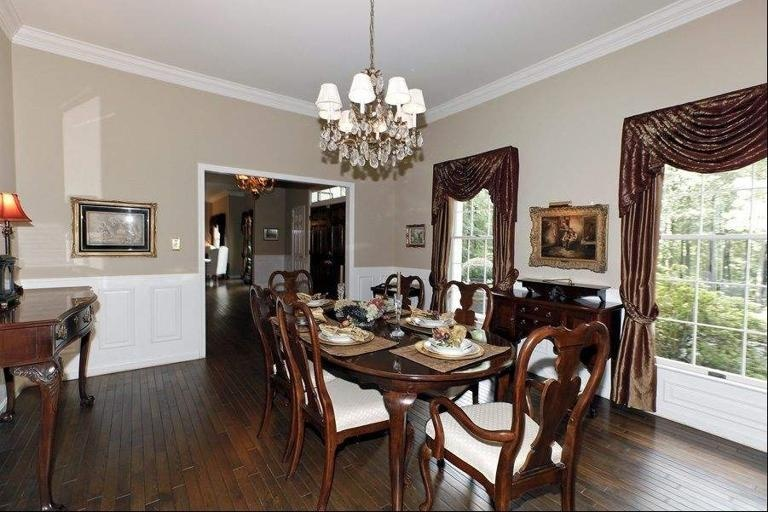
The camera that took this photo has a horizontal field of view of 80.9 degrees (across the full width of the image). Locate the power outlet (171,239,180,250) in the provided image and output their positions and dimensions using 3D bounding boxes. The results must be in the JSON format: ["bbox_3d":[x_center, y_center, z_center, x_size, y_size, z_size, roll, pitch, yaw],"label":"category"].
[{"bbox_3d":[-2.715,-0.162,5.852,0.138,0.193,0.018,1,-3,-37],"label":"power outlet"}]

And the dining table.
[{"bbox_3d":[0.022,1.082,3.912,1.497,1.628,2.408,-3,4,-38],"label":"dining table"}]

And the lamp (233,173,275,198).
[{"bbox_3d":[-2.328,-1.261,7.913,0.592,0.301,0.605,6,8,18],"label":"lamp"}]

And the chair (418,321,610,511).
[{"bbox_3d":[0.952,1.259,3.447,1.257,1.578,0.815,-1,2,-14],"label":"chair"}]

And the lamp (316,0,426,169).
[{"bbox_3d":[-0.141,-1.921,4.792,1.116,1.995,1.081,-10,17,-33],"label":"lamp"}]

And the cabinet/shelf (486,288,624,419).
[{"bbox_3d":[1.825,0.993,5.197,1.231,1.077,0.481,7,10,37],"label":"cabinet/shelf"}]

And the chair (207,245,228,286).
[{"bbox_3d":[-4.841,0.255,12.813,0.669,1.076,0.663,2,3,16],"label":"chair"}]

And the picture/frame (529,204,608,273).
[{"bbox_3d":[2.204,-0.214,5.292,0.067,0.751,0.779,1,1,-41],"label":"picture/frame"}]

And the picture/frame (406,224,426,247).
[{"bbox_3d":[0.519,-0.337,7.137,0.040,0.392,0.376,1,-2,-33],"label":"picture/frame"}]

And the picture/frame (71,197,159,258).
[{"bbox_3d":[-3.339,-0.358,5.499,0.735,0.657,0.063,-1,1,-34],"label":"picture/frame"}]
